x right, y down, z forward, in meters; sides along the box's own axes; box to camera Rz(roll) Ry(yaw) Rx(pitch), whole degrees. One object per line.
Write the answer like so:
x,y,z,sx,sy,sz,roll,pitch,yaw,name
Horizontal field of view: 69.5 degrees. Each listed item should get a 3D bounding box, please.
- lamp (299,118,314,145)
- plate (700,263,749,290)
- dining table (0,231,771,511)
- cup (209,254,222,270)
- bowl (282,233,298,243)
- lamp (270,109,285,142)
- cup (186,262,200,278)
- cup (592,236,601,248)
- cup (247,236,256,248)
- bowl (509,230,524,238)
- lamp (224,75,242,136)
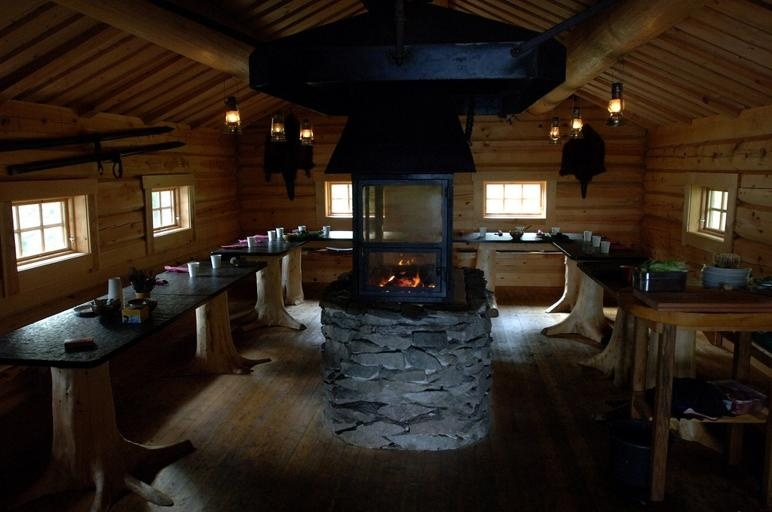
-1.031,-1.624,7.266,0.142,0.313,0.244,-2,10,-14,lamp
2.780,0.157,4.539,0.273,0.130,0.242,1,4,6,plate
-0.412,0.981,5.821,5.774,1.592,4.088,-1,8,-9,dining table
-1.973,0.063,6.507,0.183,0.153,0.166,0,2,-7,cup
-1.357,-0.249,7.850,0.182,0.071,0.219,0,2,3,bowl
-1.243,-1.482,6.394,0.122,0.299,0.249,0,9,-2,lamp
-2.146,0.147,6.217,0.198,0.157,0.175,1,3,-3,cup
2.740,-0.189,7.198,0.153,0.142,0.150,1,10,0,cup
-1.791,-0.185,7.433,0.174,0.164,0.148,0,2,-2,cup
1.891,-0.315,8.006,0.160,0.084,0.142,0,6,5,bowl
-1.646,-1.624,5.925,0.197,0.602,0.169,-5,18,-22,lamp
